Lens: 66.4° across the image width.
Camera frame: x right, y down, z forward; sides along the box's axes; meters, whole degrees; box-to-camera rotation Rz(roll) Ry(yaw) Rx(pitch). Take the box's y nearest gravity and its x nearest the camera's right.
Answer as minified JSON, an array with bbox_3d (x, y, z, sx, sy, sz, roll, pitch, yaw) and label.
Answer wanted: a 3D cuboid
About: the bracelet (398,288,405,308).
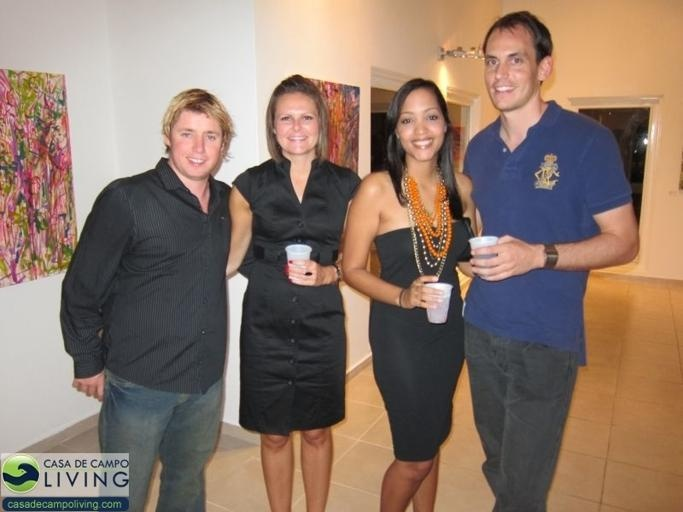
[{"bbox_3d":[0.311,0.201,2.552,0.037,0.077,0.077,2,12,21],"label":"bracelet"}]

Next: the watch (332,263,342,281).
[{"bbox_3d":[-0.010,0.085,2.732,0.032,0.077,0.068,-4,27,0],"label":"watch"}]

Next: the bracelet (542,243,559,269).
[{"bbox_3d":[0.921,-0.009,2.295,0.052,0.084,0.083,-1,-33,5],"label":"bracelet"}]

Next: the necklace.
[{"bbox_3d":[0.461,-0.160,2.685,0.242,0.498,0.200,-3,11,-5],"label":"necklace"}]

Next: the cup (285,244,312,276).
[{"bbox_3d":[-0.203,-0.001,2.599,0.134,0.123,0.183,-3,12,-6],"label":"cup"}]
